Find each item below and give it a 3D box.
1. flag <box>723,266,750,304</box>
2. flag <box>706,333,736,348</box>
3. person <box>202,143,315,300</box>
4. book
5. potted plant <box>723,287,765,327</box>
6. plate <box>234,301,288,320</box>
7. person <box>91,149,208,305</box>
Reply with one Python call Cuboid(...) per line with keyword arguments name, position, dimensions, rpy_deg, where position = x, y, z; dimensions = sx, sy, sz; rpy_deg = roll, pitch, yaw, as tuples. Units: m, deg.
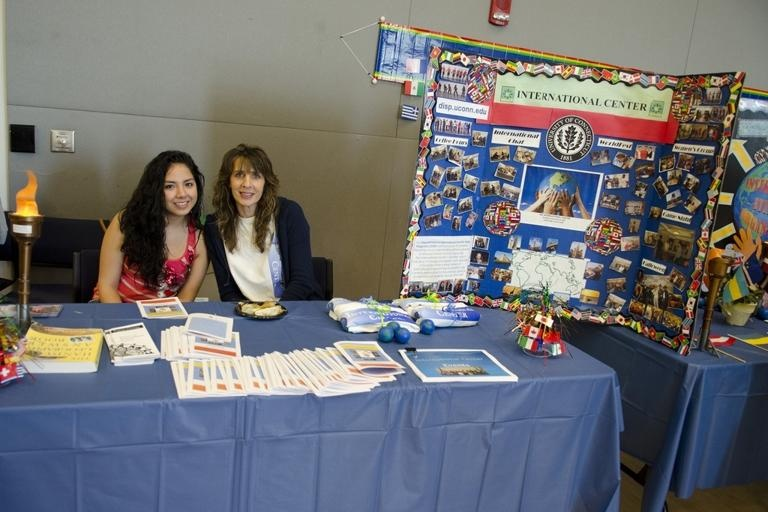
Cuboid(name="flag", position=(2.190, 0.169, 3.401), dimensions=(0.182, 0.217, 0.097), rpy_deg=(5, 22, 14))
Cuboid(name="flag", position=(1.916, 0.477, 3.123), dimensions=(0.163, 0.023, 0.153), rpy_deg=(-3, 22, 0))
Cuboid(name="person", position=(-0.786, -0.113, 3.278), dimensions=(0.653, 1.073, 0.765), rpy_deg=(-4, 9, -4))
Cuboid(name="book", position=(-1.365, 0.392, 2.323), dimensions=(0.227, 0.057, 0.241), rpy_deg=(2, 21, -14))
Cuboid(name="potted plant", position=(2.266, 0.303, 3.471), dimensions=(0.236, 0.189, 0.242), rpy_deg=(0, 1, 1))
Cuboid(name="plate", position=(-0.638, 0.277, 2.837), dimensions=(0.155, 0.043, 0.127), rpy_deg=(3, 5, 4))
Cuboid(name="person", position=(-1.347, -0.173, 3.214), dimensions=(0.591, 0.878, 0.191), rpy_deg=(-1, 14, -28))
